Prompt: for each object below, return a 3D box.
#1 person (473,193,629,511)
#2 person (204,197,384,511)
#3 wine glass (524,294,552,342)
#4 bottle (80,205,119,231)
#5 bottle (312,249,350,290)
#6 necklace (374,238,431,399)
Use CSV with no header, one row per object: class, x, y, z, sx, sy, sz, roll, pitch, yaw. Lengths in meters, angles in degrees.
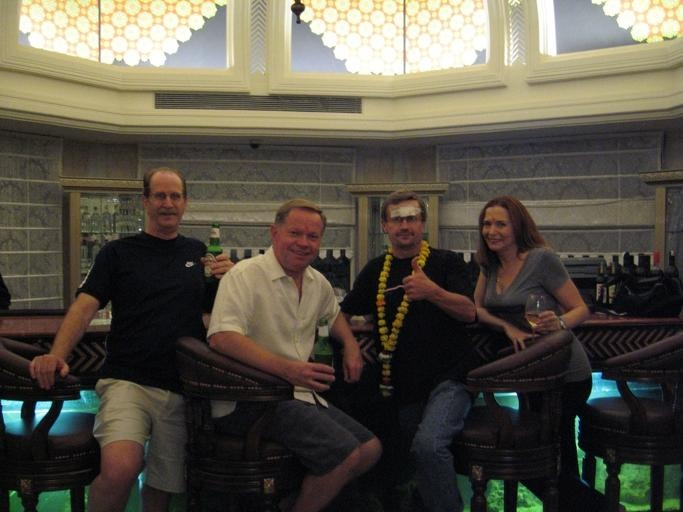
person,1.101,0.545,3.419,0.695,1.500,0.571,0,0,12
person,-0.190,0.466,2.995,0.827,1.507,0.494,0,0,-39
wine glass,1.024,0.313,3.185,0.106,0.192,0.146,0,0,38
bottle,-2.715,-0.432,6.763,0.296,0.268,0.103,1,0,-13
bottle,-0.102,0.141,6.224,0.484,0.554,0.062,1,-11,-11
necklace,0.284,0.317,3.401,0.275,0.902,0.130,5,-2,7
